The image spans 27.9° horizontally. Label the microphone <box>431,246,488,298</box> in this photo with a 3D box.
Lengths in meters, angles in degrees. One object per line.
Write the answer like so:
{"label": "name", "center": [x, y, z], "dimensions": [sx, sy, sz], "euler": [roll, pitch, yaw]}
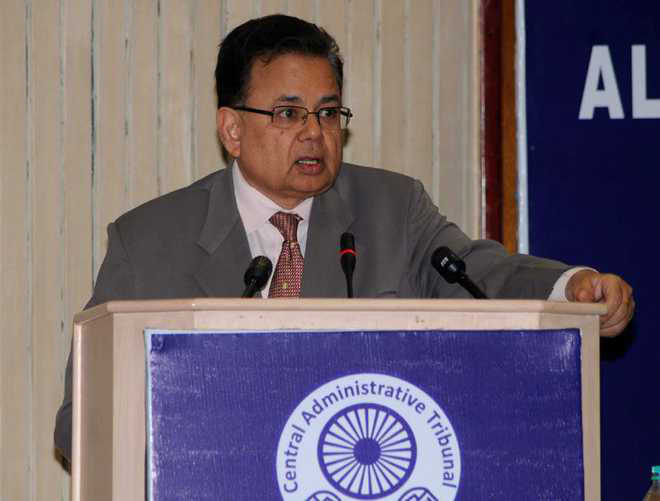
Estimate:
{"label": "microphone", "center": [0.391, 0.062, 4.061], "dimensions": [0.144, 0.152, 0.243], "euler": [-1, -1, -2]}

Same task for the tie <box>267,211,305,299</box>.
{"label": "tie", "center": [-0.148, 0.022, 4.462], "dimensions": [0.070, 0.347, 0.086], "euler": [4, -32, -3]}

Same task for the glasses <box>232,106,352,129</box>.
{"label": "glasses", "center": [-0.156, -0.455, 4.500], "dimensions": [0.380, 0.092, 0.082], "euler": [-1, -1, 10]}

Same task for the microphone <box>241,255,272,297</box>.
{"label": "microphone", "center": [-0.241, 0.074, 3.986], "dimensions": [0.085, 0.123, 0.159], "euler": [-1, -1, 29]}

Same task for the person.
{"label": "person", "center": [0.023, -0.017, 4.400], "dimensions": [1.119, 1.806, 0.847], "euler": [-2, -20, -30]}
